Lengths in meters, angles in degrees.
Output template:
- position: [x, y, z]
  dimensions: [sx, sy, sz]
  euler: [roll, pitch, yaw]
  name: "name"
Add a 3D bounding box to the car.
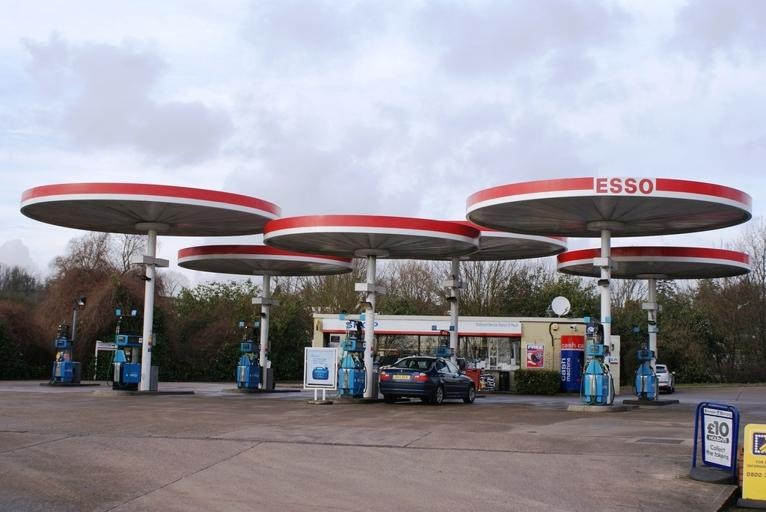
- position: [1.958, 4.555, 28.922]
  dimensions: [4.050, 1.707, 1.773]
  euler: [7, -13, -35]
  name: "car"
